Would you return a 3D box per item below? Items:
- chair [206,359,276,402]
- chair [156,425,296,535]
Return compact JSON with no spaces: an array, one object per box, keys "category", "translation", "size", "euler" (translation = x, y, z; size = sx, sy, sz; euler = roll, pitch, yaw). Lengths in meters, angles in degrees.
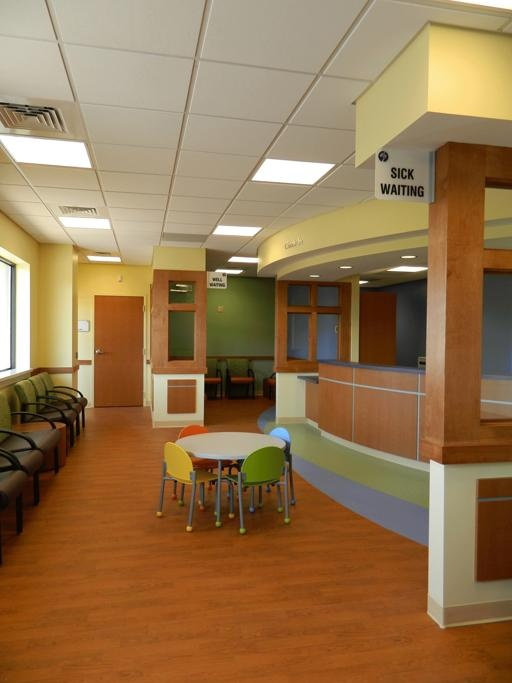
[{"category":"chair","translation":[-0.386,0.890,12.267],"size":[1.703,1.048,0.963],"euler":[0,0,-6]},{"category":"chair","translation":[-0.285,1.096,4.187],"size":[0.787,0.537,0.835],"euler":[1,-1,-6]}]
